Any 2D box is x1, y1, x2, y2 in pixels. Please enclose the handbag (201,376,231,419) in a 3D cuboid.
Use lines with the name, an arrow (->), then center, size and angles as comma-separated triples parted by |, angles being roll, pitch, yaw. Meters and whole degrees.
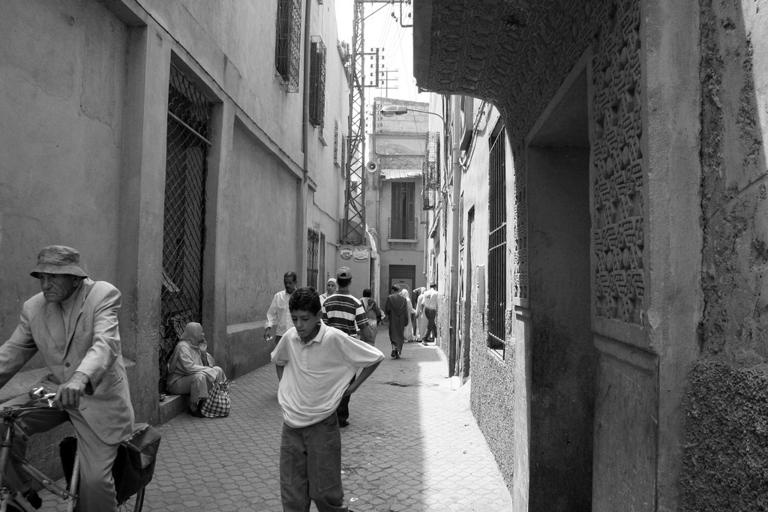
handbag -> -2.315, 2.044, 8.231 | 0.321, 0.591, 0.657 | 0, -9, 12

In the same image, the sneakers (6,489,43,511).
sneakers -> -2.526, 1.702, 4.015 | 0.191, 0.115, 0.367 | -15, -16, -38

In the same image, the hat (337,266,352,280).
hat -> -0.555, 0.229, 8.132 | 0.166, 0.121, 0.281 | 1, -2, 3
